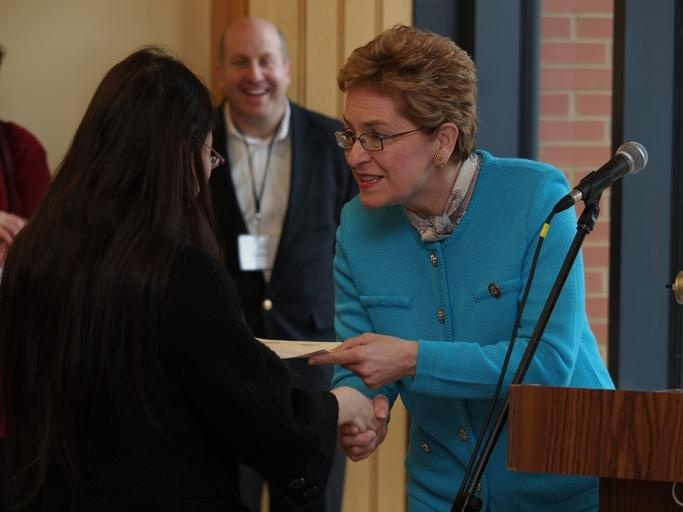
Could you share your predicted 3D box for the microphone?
[{"bbox_3d":[0.607,-0.186,2.265,0.232,0.158,0.066,-5,9,-27],"label":"microphone"}]
